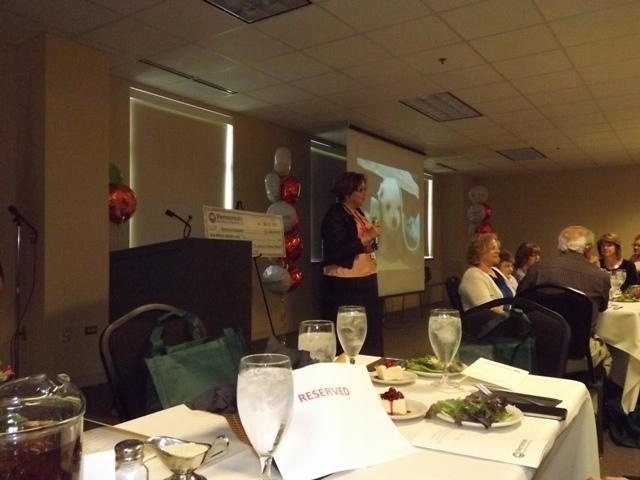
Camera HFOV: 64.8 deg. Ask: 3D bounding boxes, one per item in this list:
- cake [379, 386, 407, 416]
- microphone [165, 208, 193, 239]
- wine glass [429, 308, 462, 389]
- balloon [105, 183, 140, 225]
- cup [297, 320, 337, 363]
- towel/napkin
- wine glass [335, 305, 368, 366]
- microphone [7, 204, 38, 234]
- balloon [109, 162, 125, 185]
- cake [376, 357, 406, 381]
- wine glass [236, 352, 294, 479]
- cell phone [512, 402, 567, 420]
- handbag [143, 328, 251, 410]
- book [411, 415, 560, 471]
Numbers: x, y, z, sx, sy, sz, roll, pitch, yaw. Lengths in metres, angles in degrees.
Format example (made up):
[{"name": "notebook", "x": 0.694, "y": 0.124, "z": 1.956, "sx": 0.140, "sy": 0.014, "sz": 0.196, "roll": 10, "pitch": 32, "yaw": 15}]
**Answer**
[{"name": "cake", "x": 0.192, "y": 0.409, "z": 1.282, "sx": 0.055, "sy": 0.022, "sz": 0.058, "roll": 0, "pitch": 0, "yaw": 21}, {"name": "microphone", "x": -1.540, "y": -0.193, "z": 5.551, "sx": 0.279, "sy": 0.304, "sz": 1.052, "roll": -3, "pitch": 2, "yaw": -15}, {"name": "wine glass", "x": 0.356, "y": 0.307, "z": 1.445, "sx": 0.129, "sy": 0.213, "sz": 0.134, "roll": -1, "pitch": 1, "yaw": -3}, {"name": "balloon", "x": -1.857, "y": -0.332, "z": 4.724, "sx": 0.315, "sy": 0.383, "sz": 0.328, "roll": -1, "pitch": -2, "yaw": 8}, {"name": "cup", "x": -0.006, "y": 0.274, "z": 1.389, "sx": 0.106, "sy": 0.116, "sz": 0.111, "roll": 0, "pitch": -6, "yaw": 0}, {"name": "towel/napkin", "x": -0.206, "y": 0.290, "z": 1.128, "sx": 0.185, "sy": 0.071, "sz": 0.179, "roll": -10, "pitch": 1, "yaw": 38}, {"name": "wine glass", "x": 0.099, "y": 0.325, "z": 1.542, "sx": 0.092, "sy": 0.260, "sz": 0.095, "roll": -3, "pitch": 7, "yaw": -7}, {"name": "microphone", "x": -2.567, "y": -0.174, "z": 4.299, "sx": 0.382, "sy": 0.193, "sz": 0.186, "roll": 0, "pitch": 3, "yaw": 45}, {"name": "balloon", "x": -1.951, "y": -0.631, "z": 4.806, "sx": 0.088, "sy": 0.200, "sz": 0.206, "roll": -3, "pitch": 2, "yaw": -10}, {"name": "cake", "x": 0.218, "y": 0.390, "z": 1.540, "sx": 0.062, "sy": 0.042, "sz": 0.065, "roll": -1, "pitch": -1, "yaw": -9}, {"name": "wine glass", "x": -0.102, "y": 0.336, "z": 0.948, "sx": 0.105, "sy": 0.232, "sz": 0.091, "roll": -2, "pitch": 2, "yaw": 7}, {"name": "cell phone", "x": 0.567, "y": 0.436, "z": 1.286, "sx": 0.138, "sy": 0.036, "sz": 0.024, "roll": -3, "pitch": -8, "yaw": 34}, {"name": "handbag", "x": -0.351, "y": 0.365, "z": 1.413, "sx": 0.288, "sy": 0.287, "sz": 0.115, "roll": 5, "pitch": -38, "yaw": -40}, {"name": "book", "x": 0.394, "y": 0.460, "z": 1.183, "sx": 0.321, "sy": 0.033, "sz": 0.227, "roll": -2, "pitch": 2, "yaw": 20}]
